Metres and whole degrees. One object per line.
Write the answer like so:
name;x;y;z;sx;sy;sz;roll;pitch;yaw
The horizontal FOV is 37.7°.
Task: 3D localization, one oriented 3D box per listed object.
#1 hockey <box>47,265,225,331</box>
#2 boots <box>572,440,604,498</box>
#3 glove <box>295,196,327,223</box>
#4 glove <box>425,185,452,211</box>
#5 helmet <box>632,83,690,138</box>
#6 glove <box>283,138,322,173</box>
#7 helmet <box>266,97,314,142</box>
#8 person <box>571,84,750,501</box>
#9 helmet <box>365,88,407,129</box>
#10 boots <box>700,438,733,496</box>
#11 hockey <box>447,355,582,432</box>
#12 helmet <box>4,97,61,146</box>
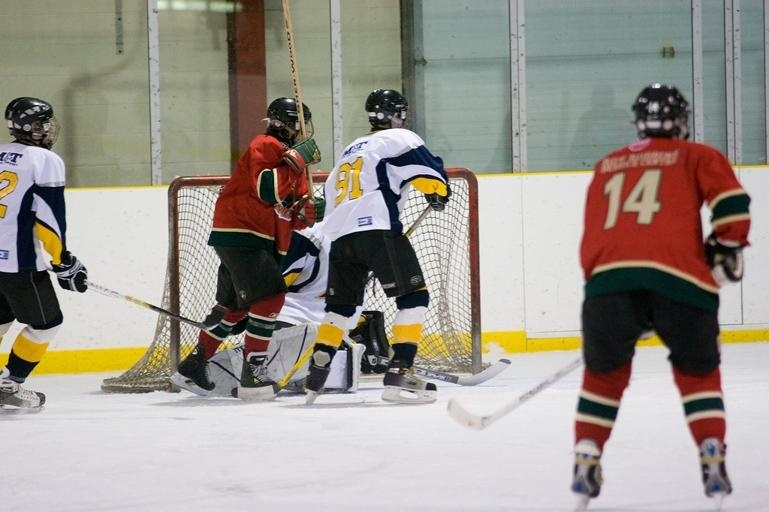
hockey;-1.698;0.291;7.593;1.175;0.120;0.089;20;15;-17
boots;0.936;0.975;5.174;0.165;0.210;0.245;4;-1;12
glove;-0.445;-0.275;6.855;0.191;0.077;0.174;6;-11;-38
glove;0.312;-0.331;6.515;0.160;0.116;0.112;-10;14;-12
helmet;1.326;-0.697;5.356;0.280;0.223;0.275;2;17;12
glove;-0.489;-0.607;6.685;0.228;0.207;0.092;-30;-45;9
helmet;-0.623;-0.847;6.989;0.351;0.269;0.271;0;10;-7
person;1.267;0.276;5.102;0.753;1.641;0.332;1;2;12
helmet;0.016;-0.861;6.642;0.289;0.246;0.214;-3;11;-3
boots;1.503;0.954;5.040;0.149;0.280;0.117;0;2;2
hockey;0.647;0.685;5.686;0.642;0.421;0.716;0;2;2
helmet;-2.099;-0.817;6.832;0.391;0.309;0.286;-2;13;-31
